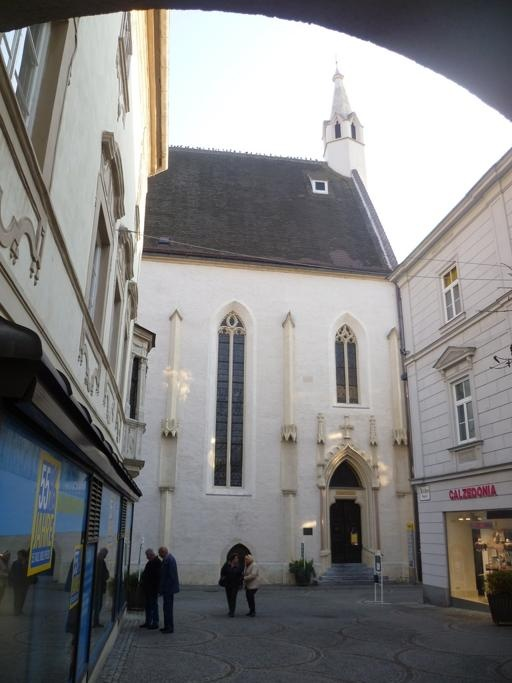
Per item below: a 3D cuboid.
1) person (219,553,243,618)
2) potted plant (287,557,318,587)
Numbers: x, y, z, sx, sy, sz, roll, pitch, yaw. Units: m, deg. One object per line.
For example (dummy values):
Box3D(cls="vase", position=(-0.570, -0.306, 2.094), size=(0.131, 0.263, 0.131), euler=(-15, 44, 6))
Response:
Box3D(cls="person", position=(-0.680, 6.694, 13.130), size=(0.637, 1.573, 1.908), euler=(0, -19, -2))
Box3D(cls="potted plant", position=(2.280, 10.654, 22.172), size=(1.184, 1.465, 1.211), euler=(1, -14, -26))
